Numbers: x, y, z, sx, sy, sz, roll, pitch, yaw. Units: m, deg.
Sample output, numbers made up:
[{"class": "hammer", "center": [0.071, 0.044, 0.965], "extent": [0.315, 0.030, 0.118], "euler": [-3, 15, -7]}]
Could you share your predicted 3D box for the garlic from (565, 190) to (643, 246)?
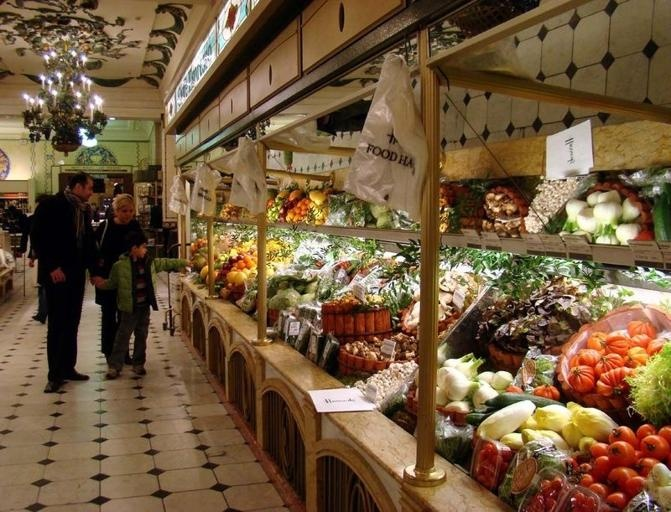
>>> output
[{"class": "garlic", "center": [1.005, -0.151, 1.760], "extent": [0.120, 0.202, 0.290], "euler": [-3, 6, -39]}]

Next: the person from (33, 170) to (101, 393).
[{"class": "person", "center": [-2.983, 0.249, 5.174], "extent": [0.489, 2.295, 0.797], "euler": [-1, 0, 5]}]

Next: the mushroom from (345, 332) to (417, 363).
[{"class": "mushroom", "center": [0.295, 0.549, 2.851], "extent": [0.348, 0.139, 0.292], "euler": [7, 10, -5]}]

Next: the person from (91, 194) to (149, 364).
[{"class": "person", "center": [-2.704, 0.199, 5.753], "extent": [0.595, 2.078, 0.590], "euler": [1, 2, 35]}]

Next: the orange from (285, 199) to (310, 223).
[{"class": "orange", "center": [-0.370, -0.414, 4.465], "extent": [0.076, 0.241, 0.227], "euler": [24, -32, -24]}]

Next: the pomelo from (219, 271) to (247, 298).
[{"class": "pomelo", "center": [-1.196, 0.364, 5.467], "extent": [0.124, 0.323, 0.324], "euler": [26, 16, -32]}]

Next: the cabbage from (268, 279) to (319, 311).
[{"class": "cabbage", "center": [-0.384, 0.345, 4.117], "extent": [0.275, 0.108, 0.325], "euler": [-4, 20, 40]}]

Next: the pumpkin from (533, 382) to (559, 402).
[{"class": "pumpkin", "center": [0.873, 0.563, 1.917], "extent": [0.057, 0.058, 0.058], "euler": [2, 14, -5]}]

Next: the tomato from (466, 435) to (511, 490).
[{"class": "tomato", "center": [0.588, 0.784, 1.791], "extent": [0.088, 0.174, 0.189], "euler": [-2, 5, -26]}]

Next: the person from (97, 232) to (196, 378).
[{"class": "person", "center": [-2.269, 0.501, 5.472], "extent": [0.496, 2.053, 0.704], "euler": [2, 4, 26]}]

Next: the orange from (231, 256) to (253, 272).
[{"class": "orange", "center": [-1.141, 0.091, 5.732], "extent": [0.187, 0.081, 0.190], "euler": [24, 15, 35]}]

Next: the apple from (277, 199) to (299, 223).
[{"class": "apple", "center": [-0.476, -0.435, 4.645], "extent": [0.084, 0.217, 0.196], "euler": [-1, 48, -34]}]
